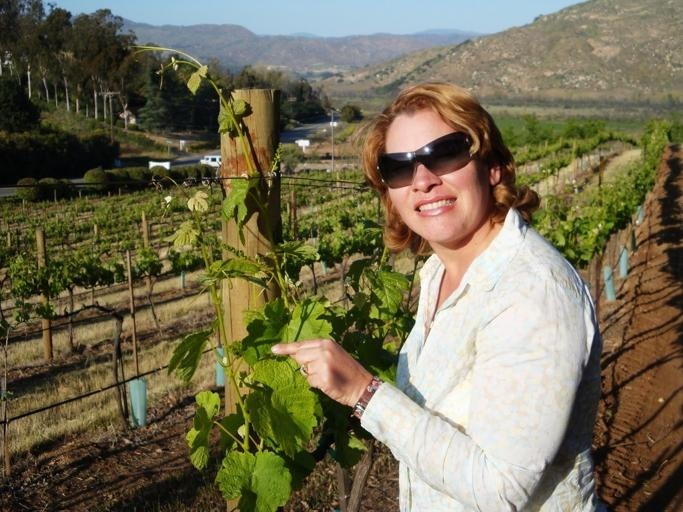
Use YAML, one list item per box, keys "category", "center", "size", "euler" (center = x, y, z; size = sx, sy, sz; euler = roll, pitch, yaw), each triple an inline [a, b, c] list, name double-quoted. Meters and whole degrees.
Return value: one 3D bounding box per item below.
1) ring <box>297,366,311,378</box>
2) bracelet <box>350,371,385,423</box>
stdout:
- category: "ring"
  center: [-0.172, 0.532, 2.930]
  size: [0.033, 0.068, 0.087]
  euler: [-33, -10, -17]
- category: "bracelet"
  center: [0.113, 0.622, 2.782]
  size: [0.052, 0.173, 0.141]
  euler: [23, 40, 9]
